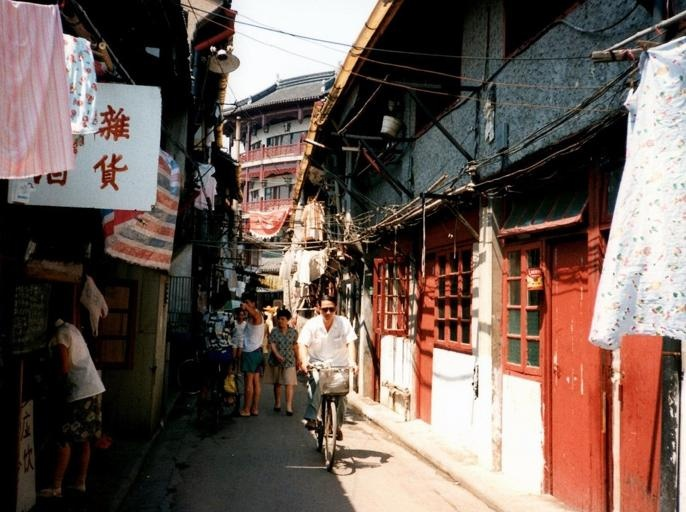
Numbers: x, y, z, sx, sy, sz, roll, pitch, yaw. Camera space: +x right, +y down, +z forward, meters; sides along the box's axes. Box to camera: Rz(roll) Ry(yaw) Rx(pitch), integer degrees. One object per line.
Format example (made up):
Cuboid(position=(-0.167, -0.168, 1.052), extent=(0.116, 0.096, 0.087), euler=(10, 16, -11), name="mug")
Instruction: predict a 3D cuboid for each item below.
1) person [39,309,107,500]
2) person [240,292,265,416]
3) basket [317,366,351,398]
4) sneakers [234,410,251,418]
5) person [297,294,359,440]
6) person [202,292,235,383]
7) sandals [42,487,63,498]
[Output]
Cuboid(position=(-3.208, 1.785, 8.799), extent=(0.665, 2.049, 0.657), euler=(1, 0, -20), name="person")
Cuboid(position=(-1.718, 1.861, 14.002), extent=(0.463, 2.278, 1.324), euler=(1, 0, -6), name="person")
Cuboid(position=(-0.117, 1.764, 10.373), extent=(0.550, 0.457, 0.332), euler=(-2, -4, 28), name="basket")
Cuboid(position=(-1.835, 2.919, 13.585), extent=(0.207, 0.088, 0.112), euler=(7, -6, 9), name="sneakers")
Cuboid(position=(-0.215, 1.523, 10.499), extent=(0.701, 1.926, 1.030), euler=(0, 8, 3), name="person")
Cuboid(position=(-2.186, 1.612, 13.051), extent=(0.530, 1.485, 0.636), euler=(1, 0, -38), name="person")
Cuboid(position=(-3.350, 2.722, 8.490), extent=(0.177, 0.081, 0.105), euler=(11, -14, -1), name="sandals")
